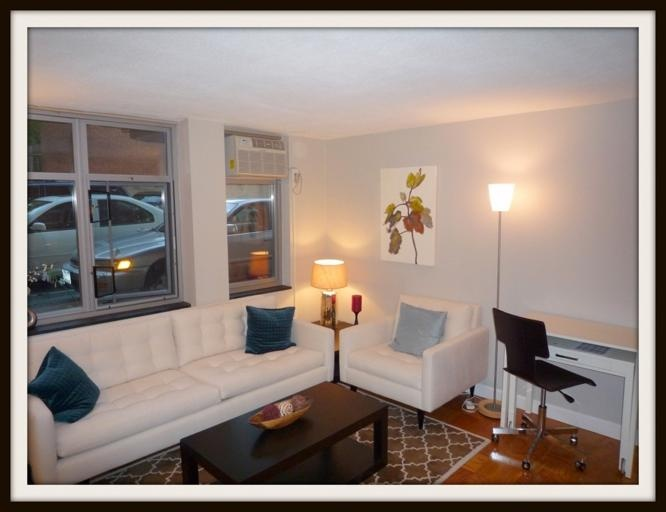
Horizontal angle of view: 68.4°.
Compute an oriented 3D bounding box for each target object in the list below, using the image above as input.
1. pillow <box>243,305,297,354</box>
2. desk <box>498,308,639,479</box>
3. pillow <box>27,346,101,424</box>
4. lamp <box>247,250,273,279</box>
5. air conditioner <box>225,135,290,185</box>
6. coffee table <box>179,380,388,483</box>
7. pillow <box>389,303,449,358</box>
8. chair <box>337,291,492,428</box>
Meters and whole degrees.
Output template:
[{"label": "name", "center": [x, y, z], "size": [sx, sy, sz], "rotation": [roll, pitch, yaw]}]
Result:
[{"label": "pillow", "center": [-0.575, 0.670, 4.405], "size": [0.415, 0.364, 0.161], "rotation": [2, -13, -20]}, {"label": "desk", "center": [1.658, 0.955, 3.658], "size": [0.849, 1.074, 0.989], "rotation": [-3, 6, -32]}, {"label": "pillow", "center": [-1.788, 0.853, 3.278], "size": [0.380, 0.368, 0.492], "rotation": [-5, 12, -23]}, {"label": "lamp", "center": [-0.774, 0.088, 5.409], "size": [0.285, 0.293, 0.273], "rotation": [0, 0, -7]}, {"label": "air conditioner", "center": [-0.785, -1.025, 5.091], "size": [0.655, 0.384, 0.227], "rotation": [-6, 12, -44]}, {"label": "coffee table", "center": [-0.249, 1.330, 3.281], "size": [0.698, 0.511, 1.266], "rotation": [6, 14, 43]}, {"label": "pillow", "center": [0.777, 0.696, 4.474], "size": [0.263, 0.403, 0.501], "rotation": [-14, 16, -39]}, {"label": "chair", "center": [0.722, 0.889, 4.432], "size": [1.035, 0.882, 0.983], "rotation": [6, 7, 40]}]
